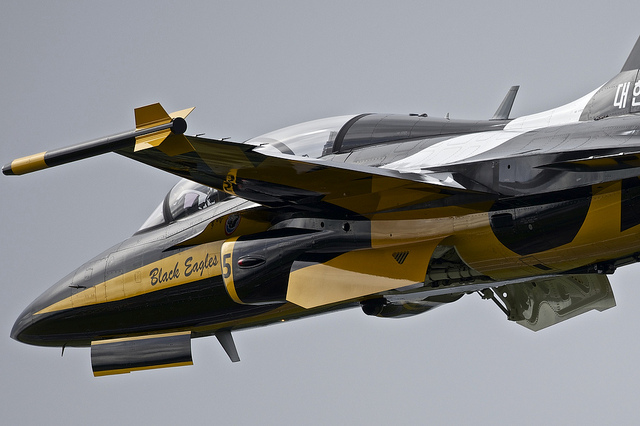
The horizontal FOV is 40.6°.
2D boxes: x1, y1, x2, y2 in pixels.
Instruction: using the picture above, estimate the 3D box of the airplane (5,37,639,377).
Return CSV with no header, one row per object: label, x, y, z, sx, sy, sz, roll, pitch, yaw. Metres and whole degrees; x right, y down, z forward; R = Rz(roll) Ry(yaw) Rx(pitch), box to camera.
airplane,-0.401,0.084,8.144,6.417,1.477,4.507,-8,-8,34
